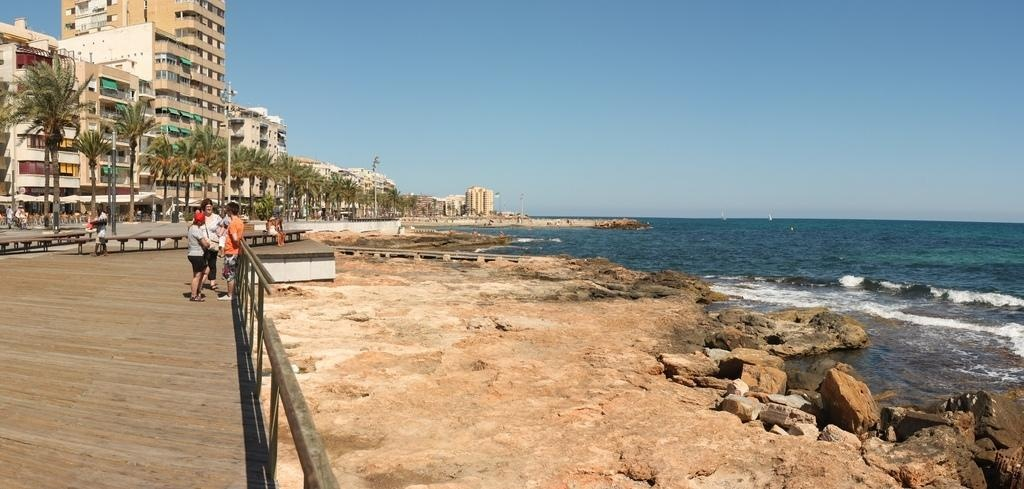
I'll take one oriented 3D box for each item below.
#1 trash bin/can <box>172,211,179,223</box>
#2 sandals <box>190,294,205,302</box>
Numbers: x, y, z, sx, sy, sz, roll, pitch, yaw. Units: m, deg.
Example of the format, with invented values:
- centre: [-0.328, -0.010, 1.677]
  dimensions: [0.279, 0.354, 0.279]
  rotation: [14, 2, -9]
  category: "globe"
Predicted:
- centre: [-38.255, -3.209, 67.843]
  dimensions: [0.756, 1.217, 3.116]
  rotation: [-2, 5, -30]
  category: "trash bin/can"
- centre: [-13.765, 2.349, 26.021]
  dimensions: [0.679, 0.173, 0.284]
  rotation: [-1, 6, -2]
  category: "sandals"
